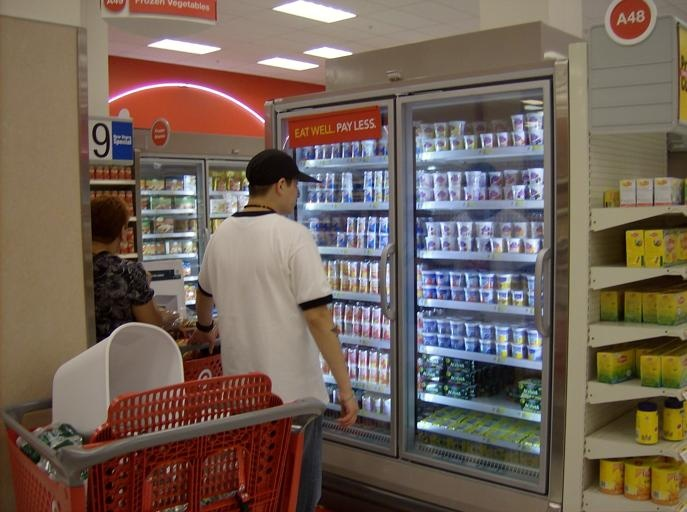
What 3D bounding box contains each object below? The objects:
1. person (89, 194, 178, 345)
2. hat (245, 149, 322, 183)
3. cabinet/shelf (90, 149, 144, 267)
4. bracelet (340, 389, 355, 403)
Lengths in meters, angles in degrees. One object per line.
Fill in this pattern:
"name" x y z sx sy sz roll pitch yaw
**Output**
"person" -1.118 0.088 2.992 0.371 0.809 0.639 -4 7 -18
"hat" -0.339 -0.446 2.920 0.265 0.139 0.170 -11 10 -28
"cabinet/shelf" -2.640 -0.707 6.530 0.527 1.034 0.356 1 -24 -17
"bracelet" 0.021 0.691 2.793 0.069 0.074 0.046 -4 -3 1
